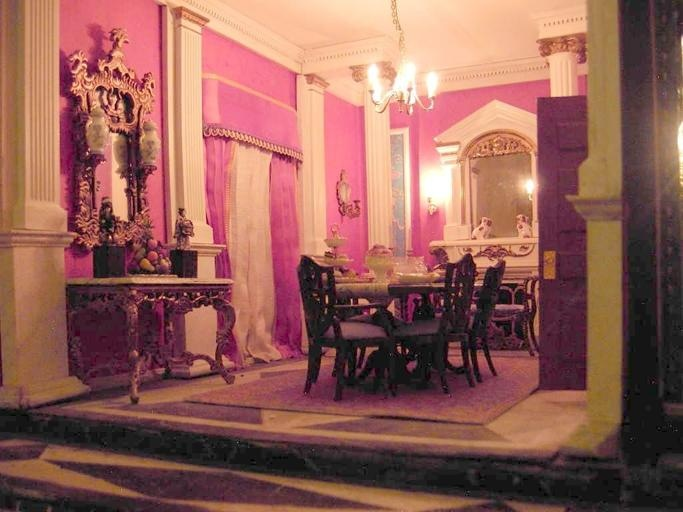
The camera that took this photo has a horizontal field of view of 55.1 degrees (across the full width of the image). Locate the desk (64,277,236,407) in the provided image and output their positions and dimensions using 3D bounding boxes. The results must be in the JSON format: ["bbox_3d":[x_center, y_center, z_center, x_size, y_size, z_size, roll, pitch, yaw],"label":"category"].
[{"bbox_3d":[-1.584,0.751,5.654,1.284,0.985,0.834,-6,-4,-15],"label":"desk"}]

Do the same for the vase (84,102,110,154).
[{"bbox_3d":[-1.986,-1.047,5.345,0.192,0.435,0.198,-1,-2,34],"label":"vase"}]

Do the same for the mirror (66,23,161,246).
[{"bbox_3d":[-1.886,-1.006,5.579,0.435,1.851,1.008,0,11,19],"label":"mirror"}]

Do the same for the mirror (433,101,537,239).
[{"bbox_3d":[2.018,-1.180,8.881,1.785,2.171,0.281,0,0,20],"label":"mirror"}]

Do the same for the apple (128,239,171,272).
[{"bbox_3d":[-1.588,0.007,5.404,0.339,0.279,0.217,-7,11,-16],"label":"apple"}]

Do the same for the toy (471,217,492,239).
[{"bbox_3d":[1.879,-0.388,8.823,0.242,0.265,0.292,4,13,34],"label":"toy"}]

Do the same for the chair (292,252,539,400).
[{"bbox_3d":[0.474,0.562,5.244,0.918,1.142,1.554,-7,-10,41],"label":"chair"}]

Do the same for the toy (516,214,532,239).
[{"bbox_3d":[2.412,-0.415,8.594,0.209,0.277,0.193,0,11,15],"label":"toy"}]

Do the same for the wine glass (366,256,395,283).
[{"bbox_3d":[0.328,0.109,5.544,0.198,0.203,0.206,0,-7,-5],"label":"wine glass"}]
